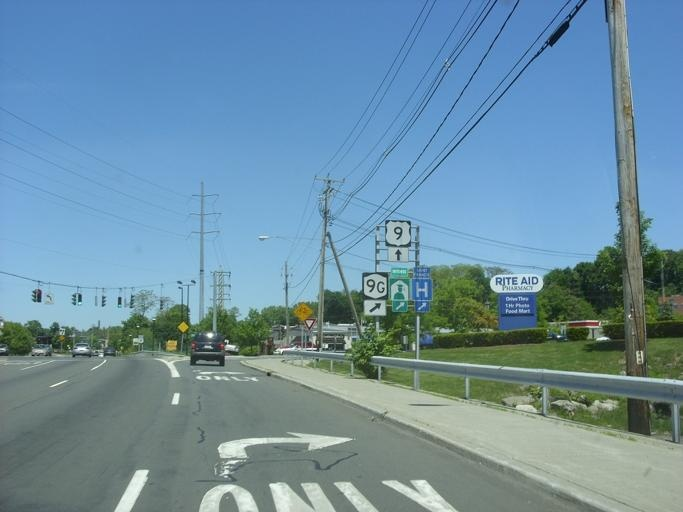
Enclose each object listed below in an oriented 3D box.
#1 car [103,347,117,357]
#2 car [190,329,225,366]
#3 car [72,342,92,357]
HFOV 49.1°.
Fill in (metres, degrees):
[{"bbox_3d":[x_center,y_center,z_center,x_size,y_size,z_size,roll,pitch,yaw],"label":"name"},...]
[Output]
[{"bbox_3d":[-25.723,10.618,82.983,1.123,0.989,2.498,3,-1,-20],"label":"car"},{"bbox_3d":[-6.896,4.682,39.023,1.148,1.109,2.134,1,1,-7],"label":"car"},{"bbox_3d":[-24.388,8.871,70.603,1.141,1.000,2.798,1,-3,-12],"label":"car"}]
